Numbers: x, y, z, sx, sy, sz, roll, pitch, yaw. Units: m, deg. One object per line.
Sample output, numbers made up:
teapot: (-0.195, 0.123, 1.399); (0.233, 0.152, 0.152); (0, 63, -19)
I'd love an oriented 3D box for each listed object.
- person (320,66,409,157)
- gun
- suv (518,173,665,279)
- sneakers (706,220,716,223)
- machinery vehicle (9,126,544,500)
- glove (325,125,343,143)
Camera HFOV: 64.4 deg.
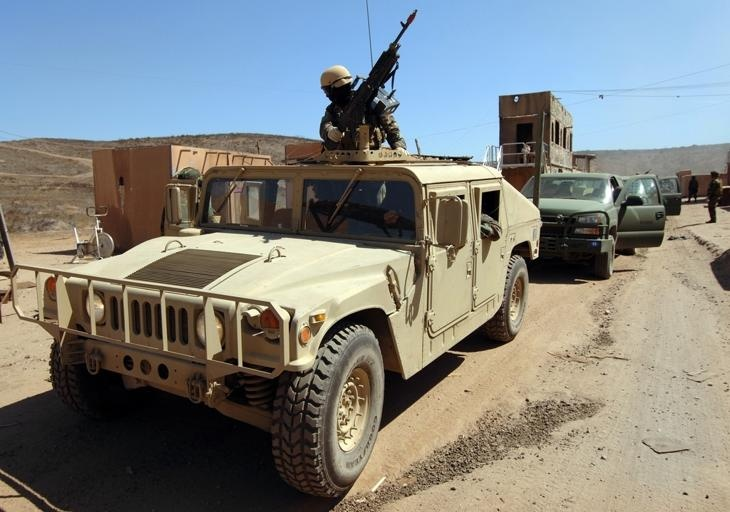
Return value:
person: (0.048, -2.076, 8.426); (0.434, 1.209, 2.011); (8, 21, 16)
gun: (0.071, -1.934, 7.157); (0.558, 0.770, 2.021); (-14, -26, -43)
suv: (5.126, -0.689, 12.573); (2.039, 1.211, 2.962); (-1, 0, 30)
sneakers: (11.999, -1.173, 20.061); (0.262, 0.131, 0.094); (3, 6, 35)
machinery vehicle: (-0.532, 0.384, 8.104); (3.864, 3.362, 6.843); (7, 9, 28)
glove: (-0.382, -1.512, 7.294); (0.203, 0.163, 0.160); (39, 11, 17)
